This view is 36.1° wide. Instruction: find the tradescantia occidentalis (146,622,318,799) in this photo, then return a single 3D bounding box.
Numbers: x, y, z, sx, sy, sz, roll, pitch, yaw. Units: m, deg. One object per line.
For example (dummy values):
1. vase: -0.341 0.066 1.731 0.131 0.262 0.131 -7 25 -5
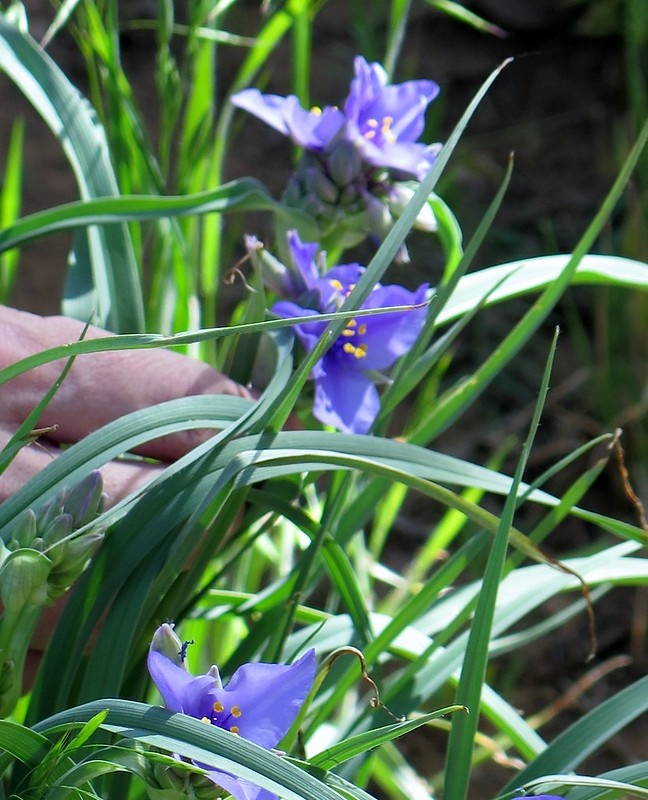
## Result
1. tradescantia occidentalis: -0.056 0.169 0.526 0.090 0.073 0.078 11 34 2
